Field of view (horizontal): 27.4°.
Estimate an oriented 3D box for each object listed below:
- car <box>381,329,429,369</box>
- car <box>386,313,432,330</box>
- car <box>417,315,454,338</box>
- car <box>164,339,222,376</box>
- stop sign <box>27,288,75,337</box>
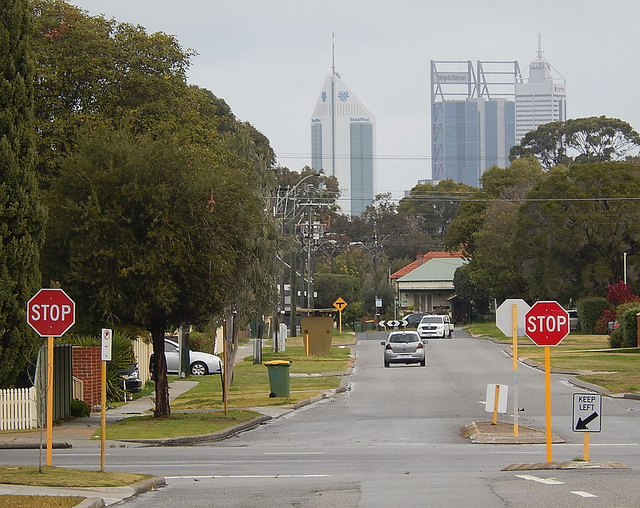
[{"bbox_3d":[3.566,4.073,55.062,1.863,1.667,3.626,-2,-1,0],"label":"car"},{"bbox_3d":[6.595,5.107,96.810,2.355,1.415,1.619,1,-3,-9],"label":"car"},{"bbox_3d":[7.125,4.555,81.331,1.417,1.128,2.916,-2,-8,9],"label":"car"},{"bbox_3d":[-5.029,4.352,51.945,2.891,1.533,1.577,-1,-2,-7],"label":"car"},{"bbox_3d":[-5.936,1.308,28.682,0.677,1.298,0.641,2,-5,-24],"label":"stop sign"}]
